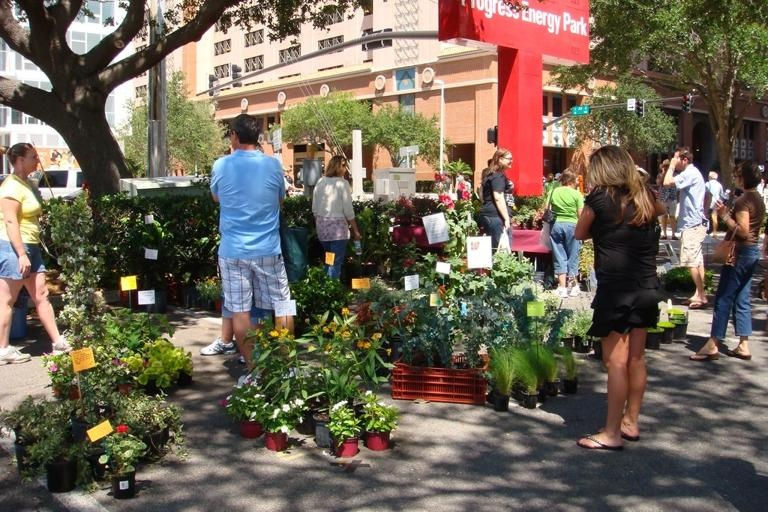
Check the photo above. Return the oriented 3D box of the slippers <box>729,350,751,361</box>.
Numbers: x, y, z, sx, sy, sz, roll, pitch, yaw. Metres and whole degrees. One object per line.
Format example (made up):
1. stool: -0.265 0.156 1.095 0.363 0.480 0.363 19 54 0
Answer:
1. slippers: 4.512 1.245 8.247 0.110 0.071 0.211 -8 15 -34

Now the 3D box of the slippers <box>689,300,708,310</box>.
1. slippers: 5.229 0.813 10.796 0.383 0.112 0.137 3 -3 -42

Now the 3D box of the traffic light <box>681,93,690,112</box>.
1. traffic light: 13.810 -7.033 29.675 0.334 0.713 1.543 5 14 22

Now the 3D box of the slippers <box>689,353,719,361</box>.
1. slippers: 4.014 1.260 8.148 0.331 0.098 0.131 3 2 -5

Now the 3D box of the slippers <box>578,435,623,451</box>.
1. slippers: 1.990 1.743 6.002 0.284 0.073 0.166 4 0 10

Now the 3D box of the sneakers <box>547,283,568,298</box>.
1. sneakers: 2.982 0.598 11.127 0.201 0.220 0.489 0 5 -7

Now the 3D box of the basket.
1. basket: 0.587 1.298 6.907 0.737 0.315 0.473 3 1 7

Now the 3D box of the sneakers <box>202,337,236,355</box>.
1. sneakers: -2.102 1.147 8.287 0.419 0.210 0.174 2 7 -20

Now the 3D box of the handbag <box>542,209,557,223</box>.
1. handbag: 2.896 -0.684 11.411 0.181 0.097 0.268 8 -27 0
